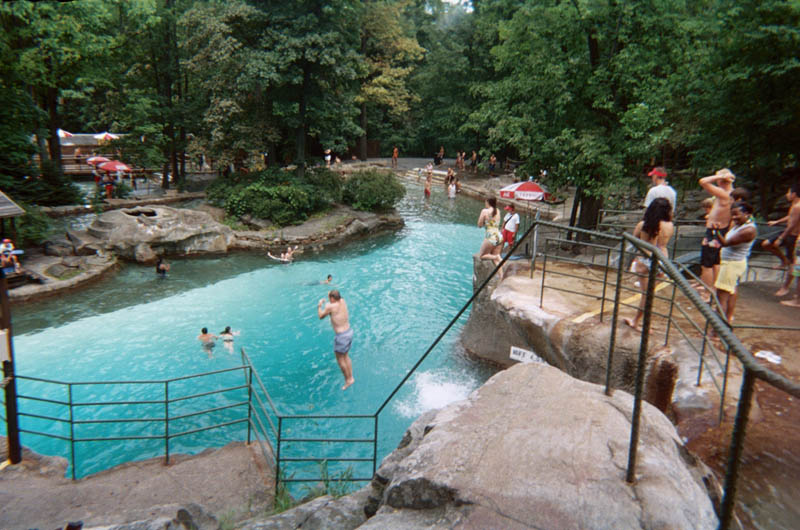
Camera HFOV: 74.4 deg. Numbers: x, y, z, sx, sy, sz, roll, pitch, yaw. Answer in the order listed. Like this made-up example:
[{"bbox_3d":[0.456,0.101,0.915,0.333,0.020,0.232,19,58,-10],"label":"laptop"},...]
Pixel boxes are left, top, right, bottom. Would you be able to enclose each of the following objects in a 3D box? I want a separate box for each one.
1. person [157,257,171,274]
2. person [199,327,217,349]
[{"bbox_3d":[-10.307,0.034,23.020,0.530,0.541,0.997,0,12,-3],"label":"person"},{"bbox_3d":[-6.265,2.312,17.301,0.461,0.742,0.506,-7,18,-27],"label":"person"}]
